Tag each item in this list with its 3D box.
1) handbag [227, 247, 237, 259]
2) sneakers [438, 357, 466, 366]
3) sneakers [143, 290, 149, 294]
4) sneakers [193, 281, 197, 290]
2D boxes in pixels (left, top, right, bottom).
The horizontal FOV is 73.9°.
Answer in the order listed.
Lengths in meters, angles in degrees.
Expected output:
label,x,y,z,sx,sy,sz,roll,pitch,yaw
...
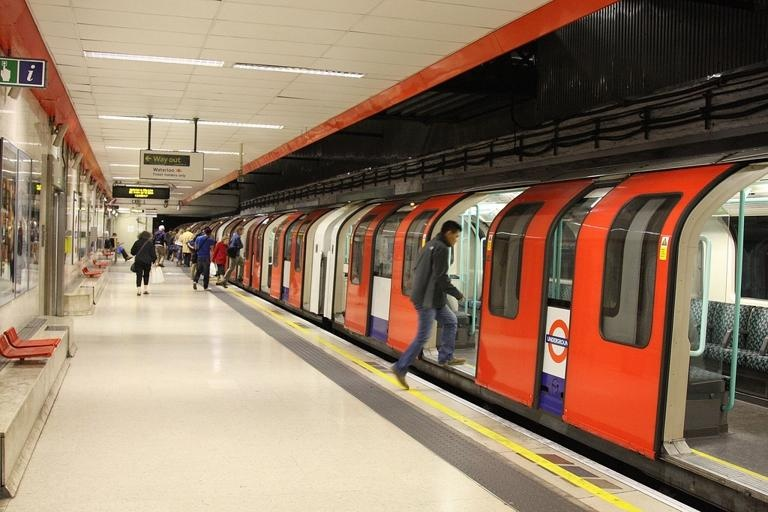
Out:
label,x,y,z,sx,sy,sz,roll,pitch,yaw
handbag,-5.290,-0.137,18.107,0.428,0.521,0.307,2,8,-16
sneakers,0.963,1.478,7.307,0.404,0.159,0.132,-3,-1,-8
sneakers,-6.868,1.046,14.828,0.127,0.113,0.118,1,-8,-22
sneakers,-6.196,0.967,16.807,0.097,0.267,0.194,2,8,-1
